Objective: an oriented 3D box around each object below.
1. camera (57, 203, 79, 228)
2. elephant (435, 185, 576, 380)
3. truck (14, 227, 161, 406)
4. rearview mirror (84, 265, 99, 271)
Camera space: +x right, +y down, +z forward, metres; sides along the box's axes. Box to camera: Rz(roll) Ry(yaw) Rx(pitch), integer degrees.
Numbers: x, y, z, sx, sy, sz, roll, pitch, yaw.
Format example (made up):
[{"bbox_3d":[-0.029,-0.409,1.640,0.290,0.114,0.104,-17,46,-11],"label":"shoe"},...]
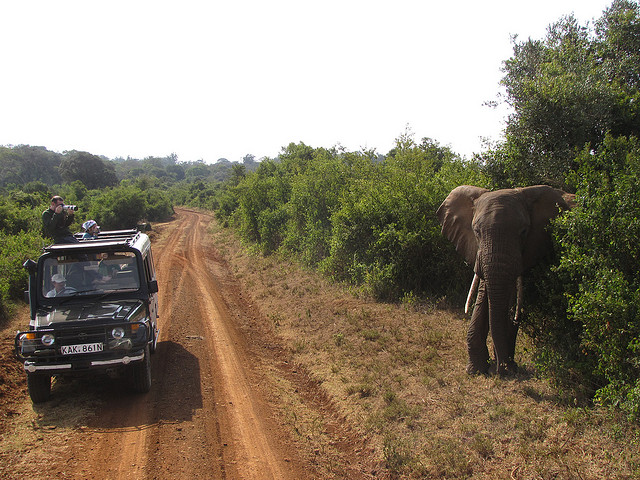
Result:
[{"bbox_3d":[-6.649,-0.707,14.174,0.592,0.701,0.228,-1,-3,29],"label":"camera"},{"bbox_3d":[4.604,0.811,13.252,2.712,3.722,3.742,-2,-8,27],"label":"elephant"},{"bbox_3d":[-5.640,1.717,13.535,2.576,3.559,5.497,-3,5,-18],"label":"truck"},{"bbox_3d":[-5.221,0.630,12.241,0.303,0.130,0.062,-1,0,-31],"label":"rearview mirror"}]
